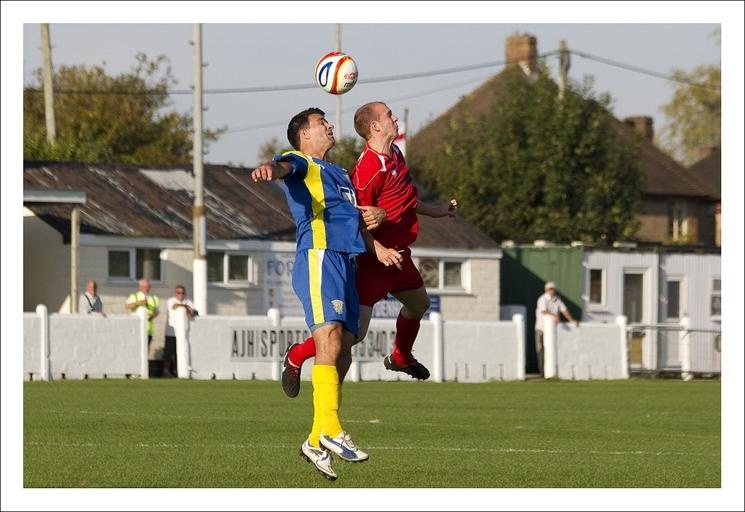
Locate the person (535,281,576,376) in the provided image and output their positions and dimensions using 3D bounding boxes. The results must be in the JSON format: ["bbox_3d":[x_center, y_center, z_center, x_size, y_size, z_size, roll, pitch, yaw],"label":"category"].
[{"bbox_3d":[4.574,1.870,43.657,0.860,2.395,1.554,-1,-5,6],"label":"person"}]

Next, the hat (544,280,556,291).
[{"bbox_3d":[4.716,0.798,45.723,0.233,0.261,0.289,3,-26,0],"label":"hat"}]

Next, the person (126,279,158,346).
[{"bbox_3d":[-5.571,1.370,42.116,0.755,1.590,1.299,1,-5,-8],"label":"person"}]
